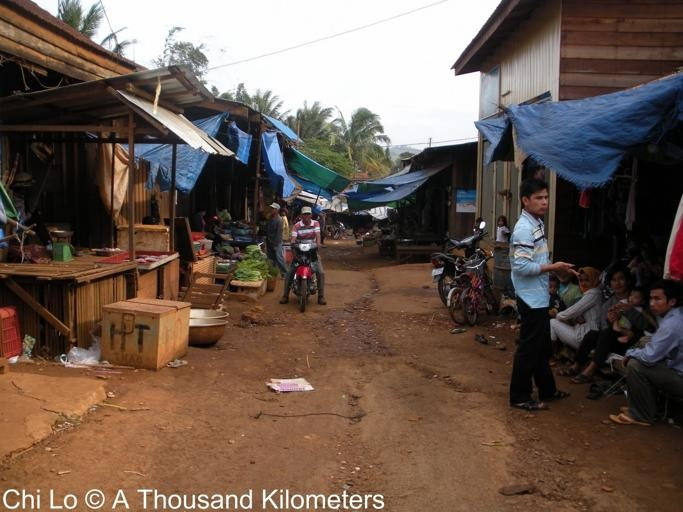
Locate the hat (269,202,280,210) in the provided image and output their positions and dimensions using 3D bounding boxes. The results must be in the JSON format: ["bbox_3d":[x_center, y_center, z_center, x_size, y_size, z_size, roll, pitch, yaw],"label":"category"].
[{"bbox_3d":[-1.756,-1.322,14.411,0.298,0.140,0.396,12,3,3],"label":"hat"}]

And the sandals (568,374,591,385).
[{"bbox_3d":[2.858,1.472,6.572,0.239,0.066,0.101,0,5,-20],"label":"sandals"}]

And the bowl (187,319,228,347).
[{"bbox_3d":[-1.928,1.109,7.837,0.513,0.397,0.342,1,8,-17],"label":"bowl"}]

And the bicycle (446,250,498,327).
[{"bbox_3d":[2.325,0.647,9.760,0.654,0.968,1.629,-6,15,31],"label":"bicycle"}]

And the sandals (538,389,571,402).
[{"bbox_3d":[2.370,1.540,6.088,0.366,0.100,0.126,-5,8,-10],"label":"sandals"}]

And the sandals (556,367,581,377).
[{"bbox_3d":[2.834,1.448,6.847,0.268,0.067,0.108,3,2,-19],"label":"sandals"}]

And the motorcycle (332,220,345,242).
[{"bbox_3d":[-0.242,-1.830,39.456,0.780,0.854,1.411,3,8,4],"label":"motorcycle"}]

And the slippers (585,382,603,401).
[{"bbox_3d":[2.842,1.508,6.113,0.129,0.060,0.172,0,20,25],"label":"slippers"}]

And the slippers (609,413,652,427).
[{"bbox_3d":[2.862,1.615,5.452,0.321,0.128,0.109,-3,-3,30],"label":"slippers"}]

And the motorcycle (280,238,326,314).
[{"bbox_3d":[-0.806,0.364,11.296,0.720,1.400,1.312,4,7,5],"label":"motorcycle"}]

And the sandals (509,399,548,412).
[{"bbox_3d":[2.020,1.589,5.865,0.333,0.135,0.118,4,1,7],"label":"sandals"}]

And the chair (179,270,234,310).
[{"bbox_3d":[-2.432,0.607,9.691,0.507,0.733,0.519,22,-10,2],"label":"chair"}]

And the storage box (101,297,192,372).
[{"bbox_3d":[-2.450,0.945,6.950,0.861,0.587,0.856,4,1,-1],"label":"storage box"}]

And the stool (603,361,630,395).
[{"bbox_3d":[3.138,1.398,6.199,0.268,0.339,0.113,-3,-37,37],"label":"stool"}]
